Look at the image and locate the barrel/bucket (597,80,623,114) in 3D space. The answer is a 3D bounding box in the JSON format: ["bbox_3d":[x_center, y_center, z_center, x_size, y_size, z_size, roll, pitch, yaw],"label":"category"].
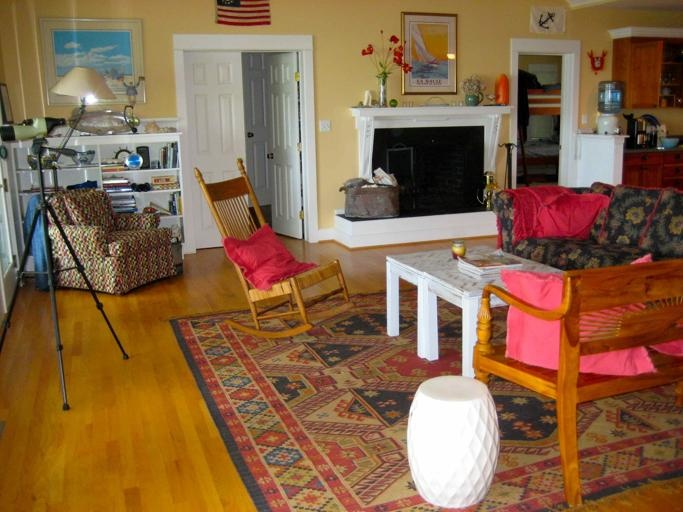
[{"bbox_3d":[4.108,-2.410,8.009,0.409,0.476,0.372,-1,17,9],"label":"barrel/bucket"}]

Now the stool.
[{"bbox_3d":[0.462,0.776,2.233,0.361,0.470,0.285,-5,17,-5],"label":"stool"}]

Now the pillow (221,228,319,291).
[{"bbox_3d":[-0.567,-0.011,4.109,0.580,0.504,0.177,-23,-20,-49],"label":"pillow"}]

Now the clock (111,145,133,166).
[{"bbox_3d":[-2.623,-1.204,6.334,0.306,0.267,0.019,-16,-19,-17],"label":"clock"}]

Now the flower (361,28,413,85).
[{"bbox_3d":[0.622,-2.663,6.966,0.744,0.650,0.463,-7,17,-12],"label":"flower"}]

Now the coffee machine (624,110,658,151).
[{"bbox_3d":[4.716,-1.978,8.302,0.571,0.528,0.748,2,17,18],"label":"coffee machine"}]

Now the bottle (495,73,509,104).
[{"bbox_3d":[2.257,-2.347,7.455,0.169,0.414,0.273,0,17,14],"label":"bottle"}]

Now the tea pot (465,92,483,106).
[{"bbox_3d":[1.814,-2.178,7.402,0.230,0.185,0.219,0,34,0],"label":"tea pot"}]

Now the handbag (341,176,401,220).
[{"bbox_3d":[0.365,-0.721,6.742,0.713,0.399,0.500,0,11,-3],"label":"handbag"}]

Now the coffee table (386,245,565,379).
[{"bbox_3d":[0.891,0.187,3.710,0.899,0.572,1.138,-7,16,-23],"label":"coffee table"}]

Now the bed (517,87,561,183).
[{"bbox_3d":[3.398,-2.128,9.252,0.676,1.661,1.864,3,17,23],"label":"bed"}]

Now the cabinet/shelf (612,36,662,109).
[{"bbox_3d":[4.498,-2.813,8.104,0.708,1.018,0.279,3,19,21],"label":"cabinet/shelf"}]

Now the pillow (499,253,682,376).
[{"bbox_3d":[1.096,0.367,2.511,0.713,0.369,0.650,-8,17,-19],"label":"pillow"}]

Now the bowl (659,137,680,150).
[{"bbox_3d":[5.066,-1.739,8.197,0.286,0.145,0.261,-2,7,0],"label":"bowl"}]

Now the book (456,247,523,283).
[{"bbox_3d":[0.985,0.042,3.541,0.281,0.057,0.259,-8,18,-29],"label":"book"}]

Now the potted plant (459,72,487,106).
[{"bbox_3d":[1.853,-2.336,7.449,0.323,0.414,0.458,0,16,11],"label":"potted plant"}]
